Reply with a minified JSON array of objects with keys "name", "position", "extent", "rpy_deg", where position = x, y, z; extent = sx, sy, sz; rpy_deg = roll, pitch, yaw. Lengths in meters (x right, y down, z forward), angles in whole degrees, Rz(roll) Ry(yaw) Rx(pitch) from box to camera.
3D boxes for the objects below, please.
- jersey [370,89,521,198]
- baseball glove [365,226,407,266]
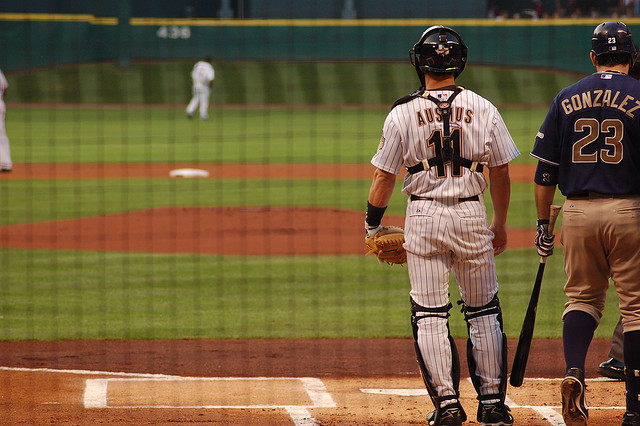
[{"name":"jersey","position":[1.656,-1.066,18.093],"extent":[2.435,1.407,0.929],"rpy_deg":[-5,15,-22]},{"name":"baseball glove","position":[0.963,0.460,18.089],"extent":[0.476,0.541,0.524],"rpy_deg":[0,-2,-24]}]
